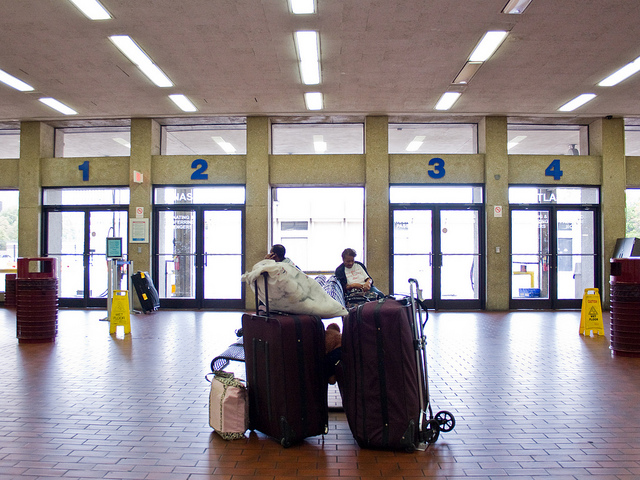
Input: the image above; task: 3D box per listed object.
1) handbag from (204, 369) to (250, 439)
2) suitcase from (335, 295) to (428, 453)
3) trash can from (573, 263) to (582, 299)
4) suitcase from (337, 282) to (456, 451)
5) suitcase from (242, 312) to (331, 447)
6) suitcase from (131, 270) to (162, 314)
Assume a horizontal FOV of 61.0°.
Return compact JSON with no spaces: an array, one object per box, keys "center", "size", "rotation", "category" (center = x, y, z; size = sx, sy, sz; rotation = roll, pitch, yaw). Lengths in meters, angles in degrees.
[{"center":[-1.067,1.855,6.210],"size":[0.318,0.706,0.758],"rotation":[7,-8,-35],"category":"handbag"},{"center":[0.635,1.452,5.725],"size":[0.846,1.553,0.391],"rotation":[1,13,6],"category":"suitcase"},{"center":[6.129,0.974,12.902],"size":[0.208,0.814,0.305],"rotation":[5,14,22],"category":"trash can"},{"center":[0.750,1.352,5.764],"size":[1.087,1.732,0.556],"rotation":[0,13,1],"category":"suitcase"},{"center":[-0.379,1.497,5.884],"size":[0.910,1.357,0.591],"rotation":[-1,13,-2],"category":"suitcase"},{"center":[-4.003,1.208,12.391],"size":[0.449,1.094,0.713],"rotation":[-22,13,-1],"category":"suitcase"}]
